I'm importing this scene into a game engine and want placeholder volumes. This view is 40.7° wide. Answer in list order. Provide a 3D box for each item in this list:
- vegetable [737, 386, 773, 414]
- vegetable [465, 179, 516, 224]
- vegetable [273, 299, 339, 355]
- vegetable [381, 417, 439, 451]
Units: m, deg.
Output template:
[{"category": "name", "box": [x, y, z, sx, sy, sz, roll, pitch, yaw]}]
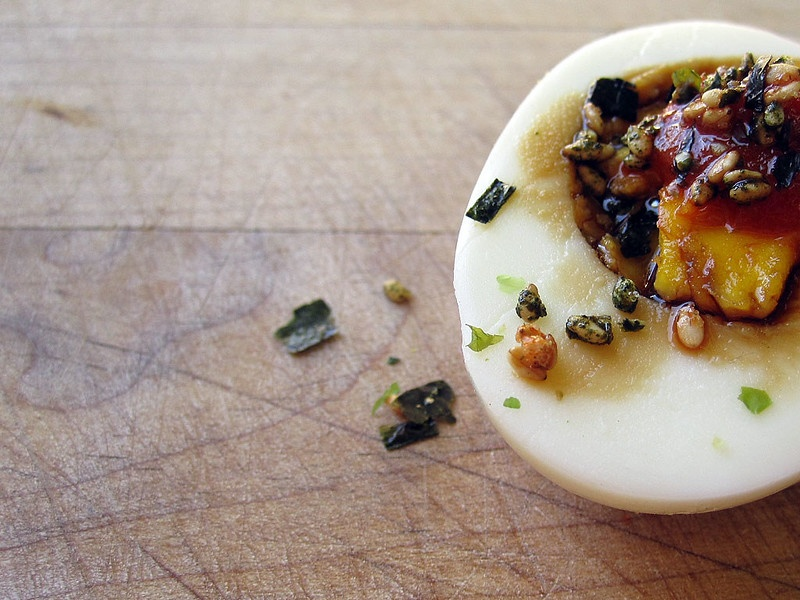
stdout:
[{"category": "vegetable", "box": [0.653, 0.186, 1.995, 0.043, 0.021, 0.056, -34, 63, -22]}, {"category": "vegetable", "box": [0.176, -0.196, 2.164, 0.065, 0.022, 0.106, 35, 83, 20]}, {"category": "vegetable", "box": [-0.200, 0.056, 2.292, 0.121, 0.038, 0.101, -31, 76, -9]}, {"category": "vegetable", "box": [0.017, 0.266, 2.166, 0.103, 0.024, 0.058, -11, 69, -5]}]
